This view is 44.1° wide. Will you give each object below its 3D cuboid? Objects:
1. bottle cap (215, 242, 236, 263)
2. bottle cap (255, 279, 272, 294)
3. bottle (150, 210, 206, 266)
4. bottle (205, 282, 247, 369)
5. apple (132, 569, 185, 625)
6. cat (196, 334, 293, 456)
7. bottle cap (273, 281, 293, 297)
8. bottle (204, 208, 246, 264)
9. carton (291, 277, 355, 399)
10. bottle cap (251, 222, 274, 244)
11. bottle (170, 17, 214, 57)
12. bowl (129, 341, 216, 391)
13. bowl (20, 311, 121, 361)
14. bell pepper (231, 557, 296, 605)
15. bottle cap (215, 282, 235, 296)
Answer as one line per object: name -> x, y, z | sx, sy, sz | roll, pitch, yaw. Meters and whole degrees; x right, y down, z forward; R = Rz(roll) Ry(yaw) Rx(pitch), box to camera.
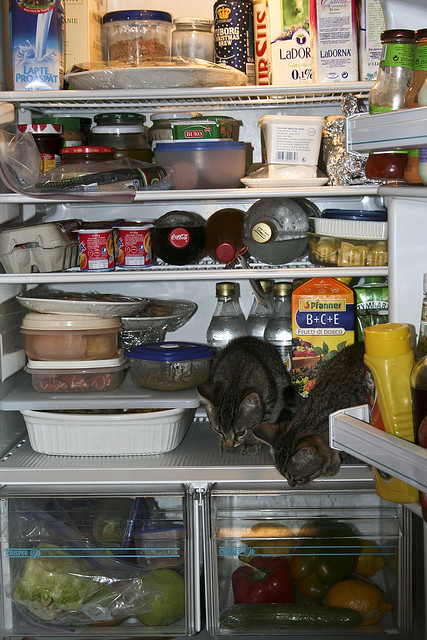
bottle cap -> 0.029, -0.146, 1.144 | 0.042, 0.042, 0.025 | -3, 15, 0
bottle cap -> 0.126, -0.083, 1.323 | 0.036, 0.033, 0.035 | -2, 2, -11
bottle -> -0.079, -0.183, 1.220 | 0.126, 0.132, 0.091 | -3, 15, -1
bottle -> 0.028, 0.010, 1.324 | 0.091, 0.190, 0.100 | -1, 7, -5
apple -> -0.111, 0.572, 1.133 | 0.113, 0.107, 0.104 | -10, 11, -7
cat -> 0.085, 0.149, 1.212 | 0.157, 0.162, 0.285 | 6, 40, 12
bottle cap -> 0.159, -0.070, 1.209 | 0.036, 0.030, 0.035 | -2, 5, -24
bottle -> 0.030, -0.197, 1.249 | 0.098, 0.088, 0.153 | -18, 21, 17
carton -> 0.243, 0.075, 1.173 | 0.139, 0.305, 0.111 | 1, -23, 10
bottle cap -> 0.104, -0.183, 1.103 | 0.045, 0.042, 0.017 | -2, 15, 4
bottle -> -0.043, -0.630, 1.204 | 0.092, 0.097, 0.092 | 7, 20, 16
bowl -> -0.096, 0.086, 1.197 | 0.137, 0.066, 0.113 | -10, 15, -38
bowl -> -0.314, 0.019, 1.186 | 0.136, 0.064, 0.135 | 1, 5, 0
bell pepper -> 0.099, 0.542, 1.083 | 0.122, 0.086, 0.053 | -3, 15, -1
bottle cap -> 0.030, -0.075, 1.260 | 0.035, 0.025, 0.034 | -1, 5, -7
